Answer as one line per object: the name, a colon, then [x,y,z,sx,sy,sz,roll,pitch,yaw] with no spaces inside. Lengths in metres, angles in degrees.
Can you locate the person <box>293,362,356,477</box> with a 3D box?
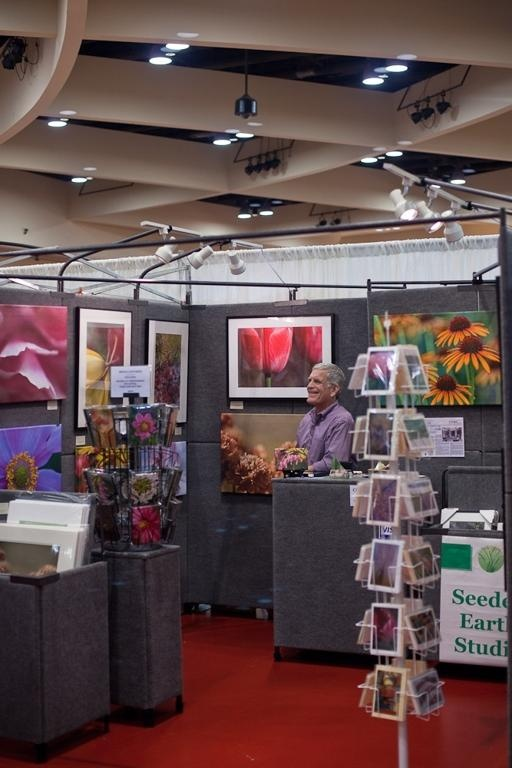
person: [0.477,0.219,4.705,0.388,0.803,0.629,-1,-8,3]

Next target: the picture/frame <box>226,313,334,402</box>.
picture/frame: [0.216,-0.205,5.256,0.716,0.520,0.026,0,0,16]

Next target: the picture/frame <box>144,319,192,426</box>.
picture/frame: [-0.683,-0.105,5.410,0.153,0.822,0.562,-3,-8,17]

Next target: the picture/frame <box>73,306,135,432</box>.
picture/frame: [-1.072,-0.117,4.817,0.163,0.875,0.569,-3,-8,18]
